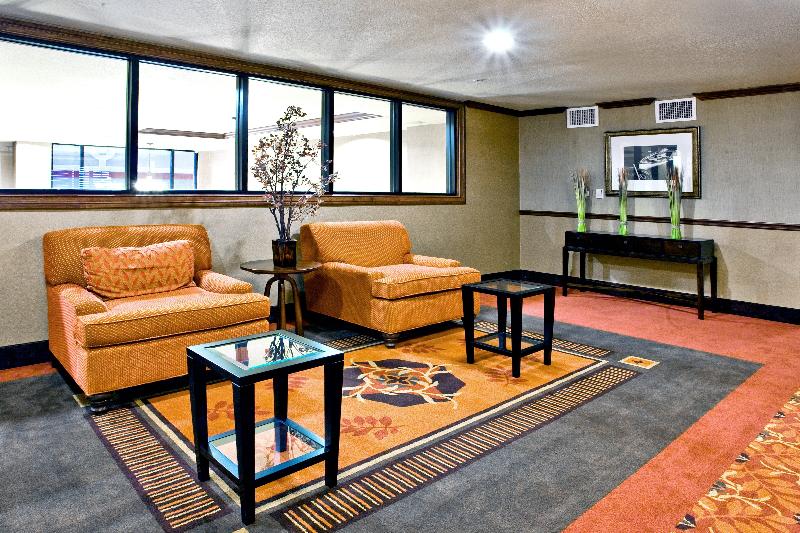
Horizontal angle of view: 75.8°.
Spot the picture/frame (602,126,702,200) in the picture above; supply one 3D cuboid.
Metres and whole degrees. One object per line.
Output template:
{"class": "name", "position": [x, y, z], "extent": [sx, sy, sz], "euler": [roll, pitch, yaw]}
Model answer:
{"class": "picture/frame", "position": [3.104, -1.263, 6.244], "extent": [0.051, 0.753, 1.168], "euler": [-5, 6, -42]}

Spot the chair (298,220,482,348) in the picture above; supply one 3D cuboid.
{"class": "chair", "position": [-0.197, 0.099, 5.363], "extent": [1.503, 0.985, 1.544], "euler": [-4, 7, -41]}

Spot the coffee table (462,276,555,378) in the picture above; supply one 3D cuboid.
{"class": "coffee table", "position": [0.961, 0.466, 4.370], "extent": [0.782, 0.660, 0.664], "euler": [-10, 15, -43]}

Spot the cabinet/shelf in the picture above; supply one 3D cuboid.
{"class": "cabinet/shelf", "position": [2.894, 0.039, 6.297], "extent": [0.539, 0.762, 1.808], "euler": [-5, 9, -34]}

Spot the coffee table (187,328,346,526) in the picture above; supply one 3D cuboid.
{"class": "coffee table", "position": [-0.770, 0.857, 2.920], "extent": [0.696, 0.793, 0.704], "euler": [-8, 14, -36]}

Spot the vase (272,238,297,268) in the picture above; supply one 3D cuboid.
{"class": "vase", "position": [-1.027, -0.118, 4.564], "extent": [0.202, 0.235, 0.286], "euler": [-3, 11, -13]}

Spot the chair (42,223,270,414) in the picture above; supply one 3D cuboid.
{"class": "chair", "position": [-2.009, 0.281, 4.283], "extent": [1.591, 1.172, 1.583], "euler": [-3, 2, -44]}

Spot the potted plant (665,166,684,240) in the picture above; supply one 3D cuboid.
{"class": "potted plant", "position": [3.200, -0.749, 5.950], "extent": [0.217, 0.817, 0.544], "euler": [4, 12, 20]}

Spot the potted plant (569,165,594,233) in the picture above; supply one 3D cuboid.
{"class": "potted plant", "position": [2.362, -0.870, 6.718], "extent": [0.239, 0.811, 0.562], "euler": [3, 12, 16]}

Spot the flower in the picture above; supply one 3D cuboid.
{"class": "flower", "position": [-1.043, -0.907, 5.065], "extent": [0.768, 1.298, 1.327], "euler": [-1, 11, -3]}
